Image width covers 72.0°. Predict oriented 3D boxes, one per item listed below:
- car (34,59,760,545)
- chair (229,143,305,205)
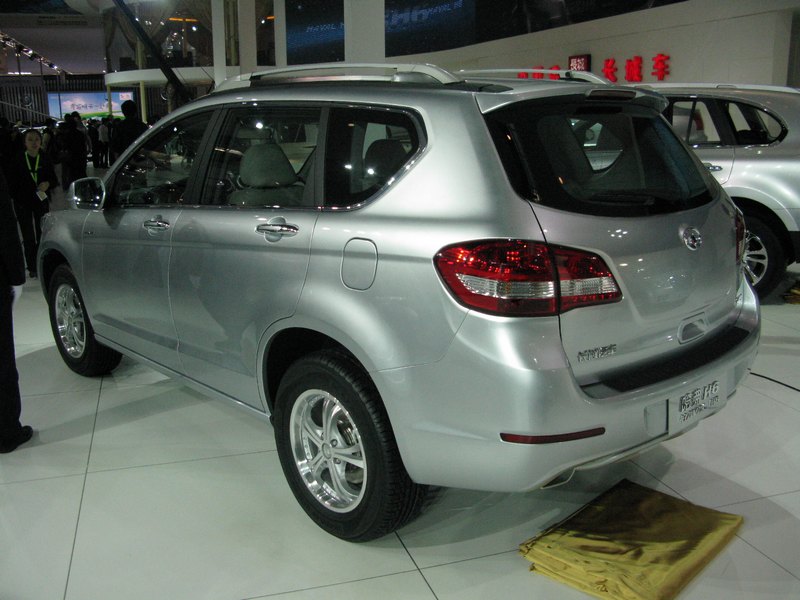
[{"bbox_3d":[-0.423,-0.247,3.017,1.845,1.506,3.652,-12,20,-43],"label":"car"},{"bbox_3d":[-0.603,-0.617,2.763,0.389,0.325,0.379,-2,14,17],"label":"chair"}]
